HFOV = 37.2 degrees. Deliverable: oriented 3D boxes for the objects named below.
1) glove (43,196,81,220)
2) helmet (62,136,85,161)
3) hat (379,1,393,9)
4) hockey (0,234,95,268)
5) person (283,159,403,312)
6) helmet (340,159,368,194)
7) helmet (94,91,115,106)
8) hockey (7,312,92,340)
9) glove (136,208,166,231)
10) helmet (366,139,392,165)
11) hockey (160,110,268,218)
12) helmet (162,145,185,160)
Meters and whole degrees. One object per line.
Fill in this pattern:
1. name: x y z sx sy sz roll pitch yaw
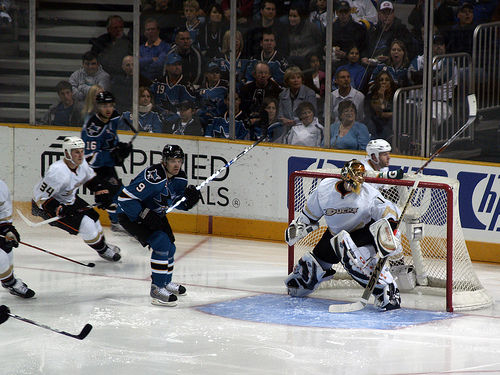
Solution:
1. glove: -1.679 0.177 6.584 0.237 0.160 0.092 10 10 11
2. helmet: -1.581 -0.346 6.623 0.163 0.210 0.229 -6 14 -23
3. hat: 1.314 -1.748 7.131 0.122 0.074 0.177 1 12 7
4. hockey: -1.876 0.603 6.888 1.145 0.114 0.146 11 49 7
5. person: 0.762 0.417 5.923 1.286 1.158 0.760 5 8 29
6. helmet: 0.808 -0.094 5.678 0.200 0.215 0.189 14 9 33
7. helmet: -1.458 -0.881 7.383 0.201 0.163 0.144 -4 9 34
8. hockey: -1.438 0.999 5.315 0.604 0.092 0.094 17 32 17
9. glove: -0.792 0.238 5.941 0.200 0.168 0.239 -1 13 -6
10. helmet: 1.127 -0.307 6.463 0.238 0.193 0.183 1 7 40
11. hockey: -0.305 -0.206 7.452 0.256 1.707 0.089 28 30 -56
12. helmet: -0.598 -0.274 5.847 0.116 0.118 0.151 -5 6 -44
